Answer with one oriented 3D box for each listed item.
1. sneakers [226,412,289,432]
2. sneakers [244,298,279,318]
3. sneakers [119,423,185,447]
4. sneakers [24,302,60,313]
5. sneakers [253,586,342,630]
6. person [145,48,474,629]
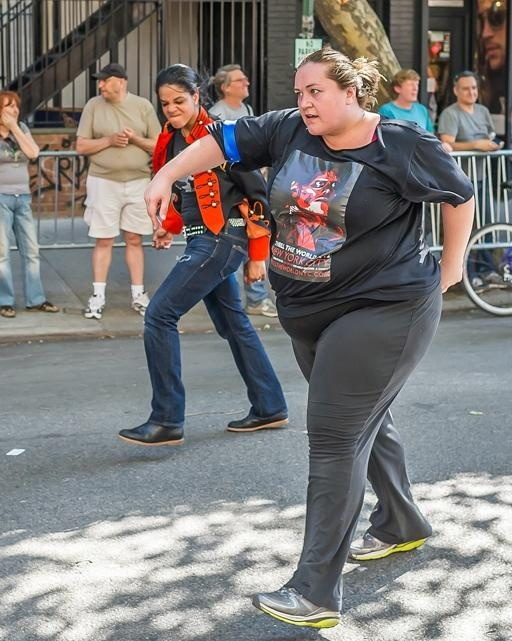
[{"bbox_3d":[0.013,0.628,4.483,0.388,0.118,0.120,-1,2,-11],"label":"sneakers"},{"bbox_3d":[0.086,-0.127,7.679,0.399,0.143,0.144,4,6,9],"label":"sneakers"},{"bbox_3d":[-0.563,0.644,4.153,0.391,0.134,0.132,6,-3,-12],"label":"sneakers"},{"bbox_3d":[-2.177,-0.136,7.484,0.300,0.086,0.120,-1,6,-1],"label":"sneakers"},{"bbox_3d":[0.118,0.829,2.151,0.299,0.112,0.093,14,-1,-14],"label":"sneakers"},{"bbox_3d":[0.224,0.062,2.206,0.796,1.708,0.692,2,13,13],"label":"person"}]
